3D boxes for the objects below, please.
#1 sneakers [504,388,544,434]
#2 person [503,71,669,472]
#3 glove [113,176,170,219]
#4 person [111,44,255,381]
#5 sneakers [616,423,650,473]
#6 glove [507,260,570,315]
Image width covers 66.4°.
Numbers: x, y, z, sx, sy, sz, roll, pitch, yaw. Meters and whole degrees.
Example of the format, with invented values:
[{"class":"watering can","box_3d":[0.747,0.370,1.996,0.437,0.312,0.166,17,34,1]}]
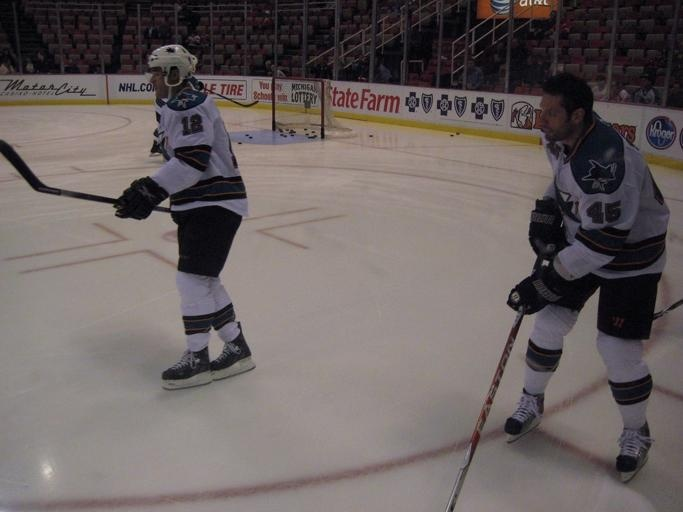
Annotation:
[{"class":"sneakers","box_3d":[0.934,0.802,2.772,0.325,0.193,0.126,-12,14,-44]},{"class":"person","box_3d":[1.204,0.089,2.411,0.754,1.739,0.501,14,25,30]},{"class":"glove","box_3d":[-1.069,-0.344,2.781,0.252,0.218,0.114,-20,56,-29]},{"class":"person","box_3d":[-0.865,-0.076,2.983,0.697,1.654,0.405,-8,23,-23]},{"class":"sneakers","box_3d":[1.355,0.894,2.411,0.128,0.107,0.266,-22,17,43]},{"class":"glove","box_3d":[0.930,0.166,2.494,0.122,0.306,0.178,14,47,-46]}]
